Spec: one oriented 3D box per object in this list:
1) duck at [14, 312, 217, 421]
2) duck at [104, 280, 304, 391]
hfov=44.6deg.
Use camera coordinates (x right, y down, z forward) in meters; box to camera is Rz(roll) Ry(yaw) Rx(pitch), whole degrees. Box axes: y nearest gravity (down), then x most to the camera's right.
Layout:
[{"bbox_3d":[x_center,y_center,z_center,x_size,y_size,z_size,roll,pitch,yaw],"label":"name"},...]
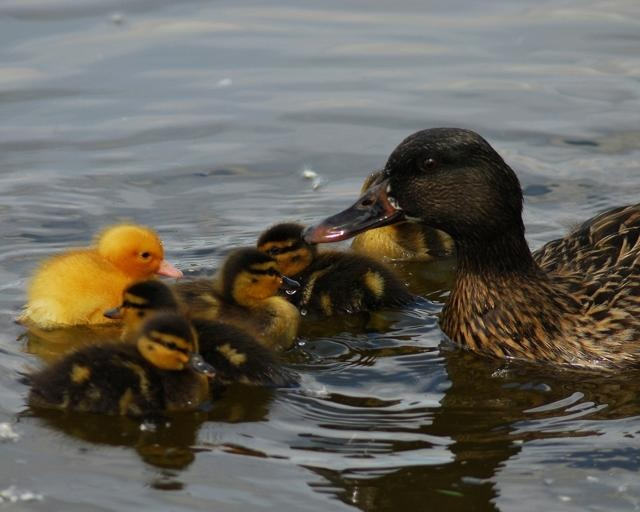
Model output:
[{"bbox_3d":[-1.038,0.599,4.348,1.258,0.398,0.576,-3,16,14],"label":"duck"},{"bbox_3d":[-0.664,0.505,4.596,1.420,0.373,0.440,16,-7,-25],"label":"duck"}]
